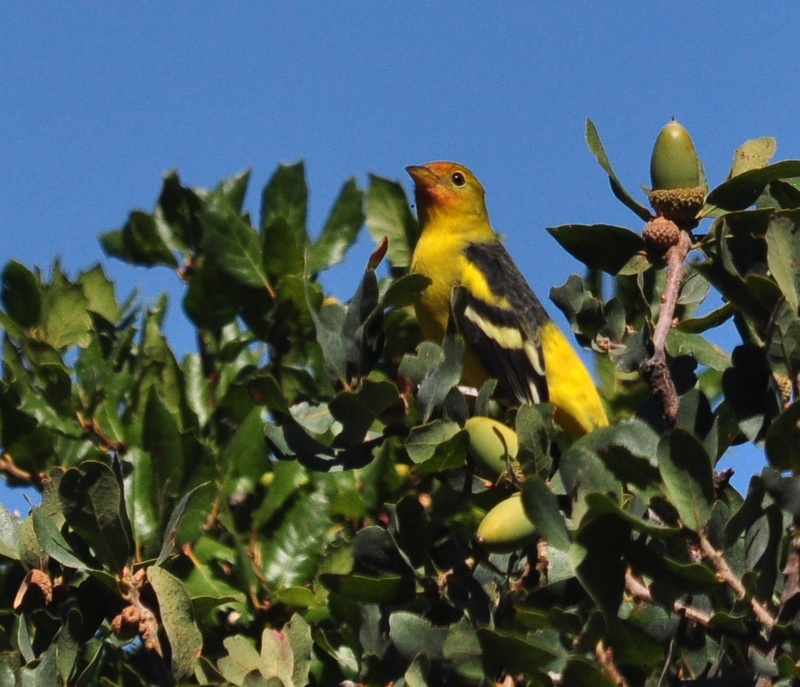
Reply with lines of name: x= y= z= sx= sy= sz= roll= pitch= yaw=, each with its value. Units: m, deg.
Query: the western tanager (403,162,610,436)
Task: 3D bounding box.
western tanager: x=0.360 y=-0.142 z=5.710 sx=0.496 sy=1.289 sz=0.754 roll=-2 pitch=2 yaw=37
